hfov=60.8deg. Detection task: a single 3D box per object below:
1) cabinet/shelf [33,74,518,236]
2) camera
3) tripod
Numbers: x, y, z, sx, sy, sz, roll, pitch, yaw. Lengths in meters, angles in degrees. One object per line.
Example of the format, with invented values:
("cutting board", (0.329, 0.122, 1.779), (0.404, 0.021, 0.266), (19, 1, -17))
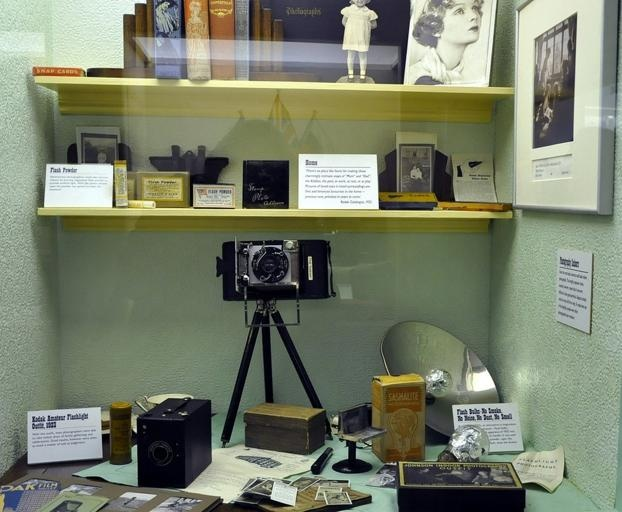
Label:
("cabinet/shelf", (-0.182, -0.400, 2.078), (1.607, 0.561, 0.384), (-1, 15, -3))
("camera", (-0.132, 0.060, 2.104), (0.465, 0.268, 0.272), (0, 8, 0))
("tripod", (-0.206, 0.441, 2.129), (0.405, 0.574, 0.375), (-6, 8, -22))
